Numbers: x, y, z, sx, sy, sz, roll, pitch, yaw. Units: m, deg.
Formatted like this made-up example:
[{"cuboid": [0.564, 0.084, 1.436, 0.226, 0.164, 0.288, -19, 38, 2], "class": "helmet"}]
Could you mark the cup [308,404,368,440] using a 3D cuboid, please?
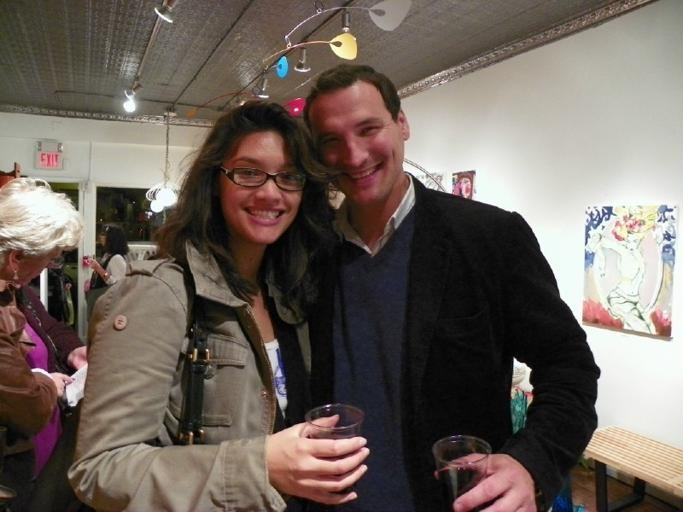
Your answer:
[{"cuboid": [-0.027, 0.590, 1.830, 0.202, 0.086, 0.130, 2, 4, 0], "class": "cup"}]

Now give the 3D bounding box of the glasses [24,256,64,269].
[{"cuboid": [-2.085, 0.052, 3.639, 0.178, 0.085, 0.129, -12, 22, -17], "class": "glasses"}]

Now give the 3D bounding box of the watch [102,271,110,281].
[{"cuboid": [-3.150, 0.281, 6.963, 0.082, 0.083, 0.082, -8, 37, -4], "class": "watch"}]
